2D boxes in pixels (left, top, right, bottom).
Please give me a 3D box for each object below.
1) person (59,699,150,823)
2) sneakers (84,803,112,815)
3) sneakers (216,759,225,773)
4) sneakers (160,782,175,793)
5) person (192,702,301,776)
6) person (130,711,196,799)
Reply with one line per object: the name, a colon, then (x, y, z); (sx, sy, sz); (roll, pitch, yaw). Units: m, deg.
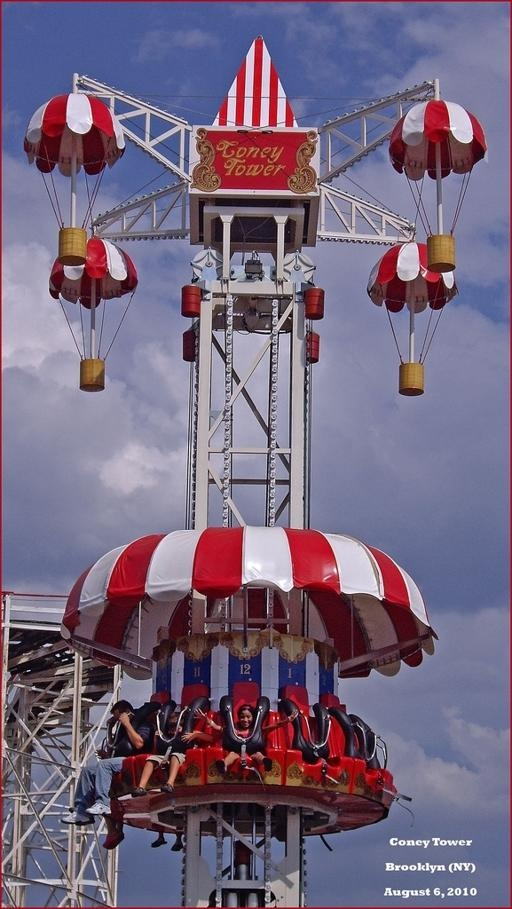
person: (-2.381, 4.929, 32.463); (0.906, 2.318, 1.311); (-14, -33, 30)
sneakers: (-2.483, 5.675, 31.917); (0.442, 0.237, 0.152); (10, -14, -41)
sneakers: (-0.581, 4.916, 31.415); (0.072, 0.250, 0.159); (-5, -15, -4)
sneakers: (-1.417, 5.236, 31.300); (0.118, 0.171, 0.215); (3, -2, -1)
person: (-0.198, 4.471, 31.936); (0.993, 0.623, 1.297); (-3, 12, -1)
person: (-1.431, 4.736, 31.789); (0.861, 1.545, 0.821); (-3, -24, 13)
